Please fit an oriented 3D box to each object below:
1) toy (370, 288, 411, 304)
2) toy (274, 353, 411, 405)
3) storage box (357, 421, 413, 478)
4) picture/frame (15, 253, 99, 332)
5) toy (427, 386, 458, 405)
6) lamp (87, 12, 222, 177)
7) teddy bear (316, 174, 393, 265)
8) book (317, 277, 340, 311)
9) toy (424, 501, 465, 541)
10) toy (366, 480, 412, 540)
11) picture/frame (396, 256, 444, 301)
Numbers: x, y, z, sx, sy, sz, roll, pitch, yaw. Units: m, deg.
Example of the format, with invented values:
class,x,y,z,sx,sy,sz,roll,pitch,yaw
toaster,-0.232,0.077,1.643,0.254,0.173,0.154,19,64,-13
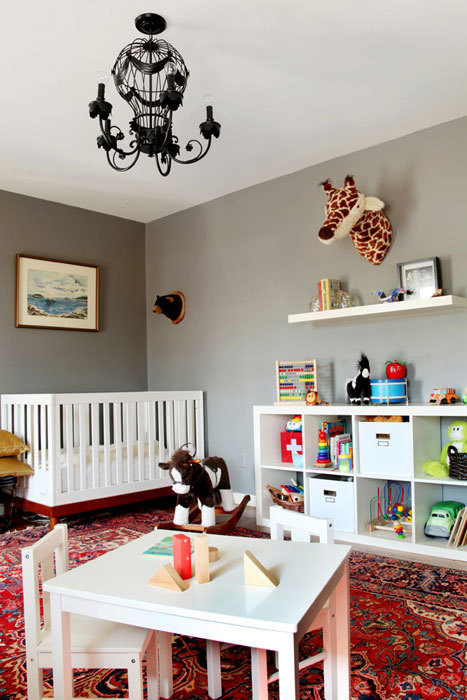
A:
class,x,y,z,sx,sy,sz,roll,pitch,yaw
toy,0.848,-0.290,3.049,0.242,0.089,0.082,-1,-1,29
toy,0.621,0.174,3.300,0.842,0.293,0.293,-4,-4,36
storage box,0.795,0.473,2.949,0.347,0.332,0.255,-2,-4,41
picture/frame,-1.336,-0.425,4.089,0.024,0.465,0.636,-1,-1,40
toy,1.079,0.234,2.850,0.133,0.071,0.082,-2,3,-29
lamp,-0.332,-1.092,2.306,0.434,0.525,0.432,26,-43,-38
teddy bear,0.684,-0.707,3.115,0.315,0.560,0.532,-1,19,41
book,0.578,-0.327,3.307,0.141,0.190,0.144,-1,-4,-1
toy,1.051,0.846,2.774,0.167,0.147,0.213,-4,-4,30
toy,0.832,0.845,3.053,0.217,0.301,0.306,6,-7,-45
picture/frame,1.018,-0.383,2.998,0.257,0.256,0.034,-7,-12,40
